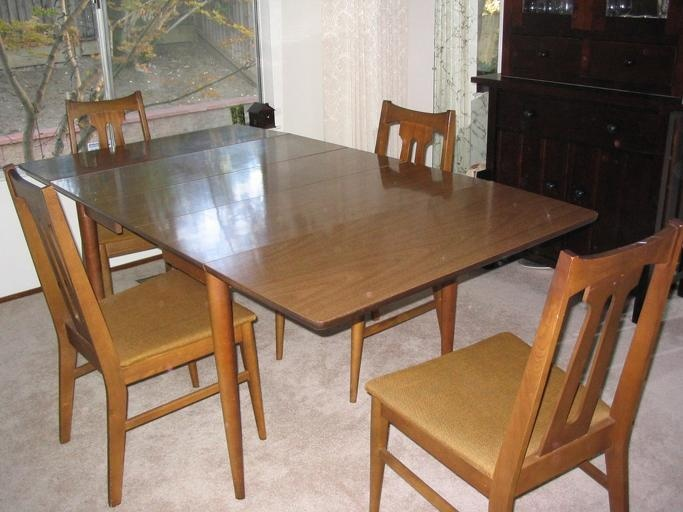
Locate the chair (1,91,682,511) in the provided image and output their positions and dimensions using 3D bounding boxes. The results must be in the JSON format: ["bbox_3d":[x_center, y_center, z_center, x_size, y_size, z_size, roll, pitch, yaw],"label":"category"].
[{"bbox_3d":[-0.201,0.126,2.278,1.245,0.893,1.853,-21,30,-36],"label":"chair"}]
